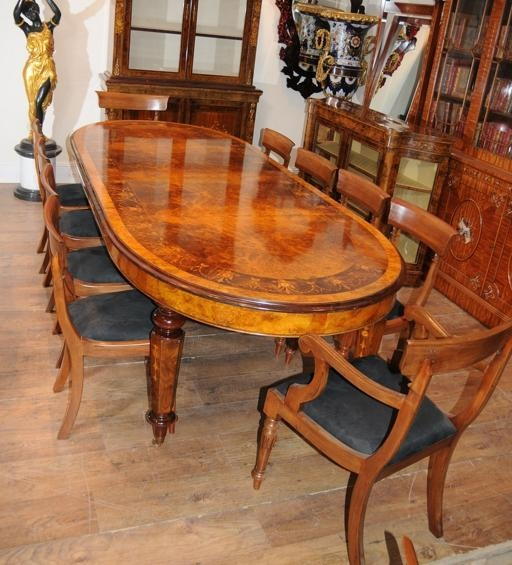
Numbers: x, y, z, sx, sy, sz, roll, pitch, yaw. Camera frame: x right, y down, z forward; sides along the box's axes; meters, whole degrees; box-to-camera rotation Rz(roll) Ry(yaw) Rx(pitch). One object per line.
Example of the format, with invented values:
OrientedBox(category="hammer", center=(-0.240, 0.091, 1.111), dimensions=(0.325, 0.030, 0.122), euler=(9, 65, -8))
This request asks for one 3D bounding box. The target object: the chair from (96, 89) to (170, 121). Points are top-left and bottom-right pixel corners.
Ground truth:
OrientedBox(category="chair", center=(-0.926, -1.324, 3.727), dimensions=(0.464, 0.234, 0.755), euler=(3, 23, -11))

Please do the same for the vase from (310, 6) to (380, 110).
OrientedBox(category="vase", center=(0.679, -1.825, 3.938), dimensions=(0.467, 0.655, 0.273), euler=(11, 27, 4))
